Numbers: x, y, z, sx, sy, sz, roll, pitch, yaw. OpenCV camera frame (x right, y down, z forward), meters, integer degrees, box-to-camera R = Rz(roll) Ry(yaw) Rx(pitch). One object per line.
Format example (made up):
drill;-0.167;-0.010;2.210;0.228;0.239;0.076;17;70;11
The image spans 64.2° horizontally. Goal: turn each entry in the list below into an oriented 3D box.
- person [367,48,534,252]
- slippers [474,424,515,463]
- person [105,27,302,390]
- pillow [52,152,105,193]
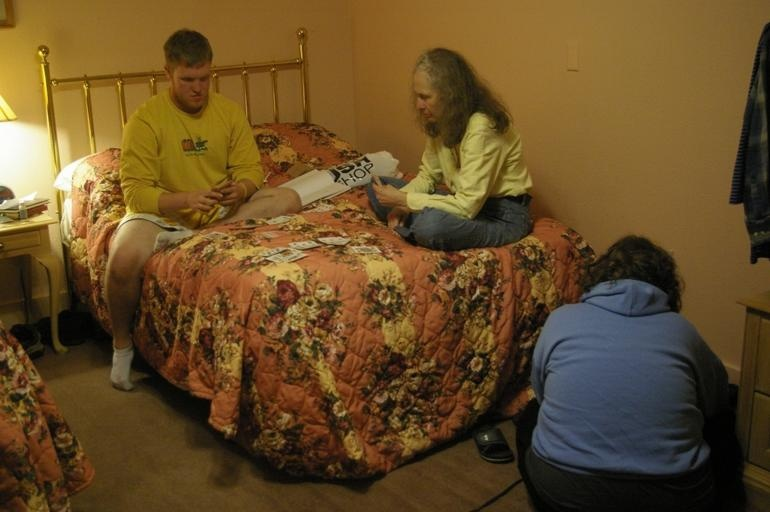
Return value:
person;0.321;-0.469;3.059;0.617;1.245;0.585;-12;18;-35
slippers;0.469;0.816;2.663;0.171;0.113;0.109;2;15;12
person;-0.942;-0.290;3.277;1.017;1.635;0.870;-2;17;-23
pillow;-1.858;-0.504;3.721;0.251;0.238;0.273;-9;20;-29
